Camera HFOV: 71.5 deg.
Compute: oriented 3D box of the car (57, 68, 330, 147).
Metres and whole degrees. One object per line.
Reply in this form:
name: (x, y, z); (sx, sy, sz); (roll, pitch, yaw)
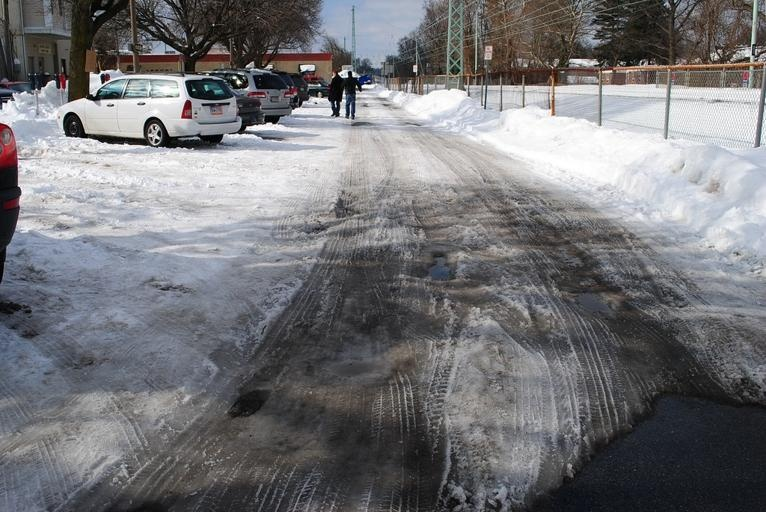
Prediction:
car: (-6.312, -3.999, 14.390); (4.288, 1.736, 1.617); (7, 21, 22)
